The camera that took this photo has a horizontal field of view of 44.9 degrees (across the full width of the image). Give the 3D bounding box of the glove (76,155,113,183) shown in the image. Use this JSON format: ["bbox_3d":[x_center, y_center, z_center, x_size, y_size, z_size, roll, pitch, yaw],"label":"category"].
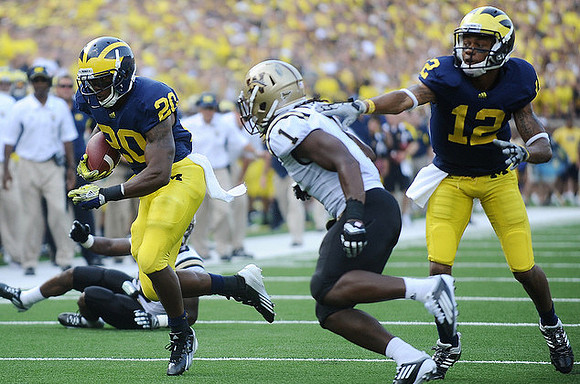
[{"bbox_3d":[-1.719,-0.196,6.198,0.225,0.127,0.284,40,11,5],"label":"glove"}]

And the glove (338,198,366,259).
[{"bbox_3d":[0.455,0.265,5.221,0.174,0.425,0.125,0,-1,0],"label":"glove"}]

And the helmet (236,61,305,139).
[{"bbox_3d":[-0.090,-0.765,5.772,0.609,0.581,0.501,-2,6,12],"label":"helmet"}]

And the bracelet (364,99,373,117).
[{"bbox_3d":[0.631,-0.675,5.691,0.083,0.110,0.085,-8,23,6],"label":"bracelet"}]

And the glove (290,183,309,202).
[{"bbox_3d":[0.064,-0.005,5.731,0.158,0.112,0.067,31,46,19],"label":"glove"}]

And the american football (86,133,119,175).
[{"bbox_3d":[-1.672,-0.316,6.241,0.228,0.352,0.245,21,-34,-23],"label":"american football"}]

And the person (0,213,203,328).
[{"bbox_3d":[-1.850,0.815,7.068,1.842,1.068,1.012,4,-9,-9],"label":"person"}]

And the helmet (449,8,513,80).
[{"bbox_3d":[1.592,-1.235,6.037,0.471,0.568,0.601,-1,1,39],"label":"helmet"}]

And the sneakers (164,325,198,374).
[{"bbox_3d":[-0.923,1.302,5.863,0.255,0.360,0.242,0,-1,-20],"label":"sneakers"}]

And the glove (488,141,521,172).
[{"bbox_3d":[1.770,-0.297,5.696,0.244,0.231,0.395,-1,-1,24],"label":"glove"}]

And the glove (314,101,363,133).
[{"bbox_3d":[0.389,-0.607,5.617,0.334,0.216,0.122,-9,-33,-14],"label":"glove"}]

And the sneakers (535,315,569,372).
[{"bbox_3d":[2.255,1.313,6.015,0.171,0.501,0.216,-21,-29,14],"label":"sneakers"}]

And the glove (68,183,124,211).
[{"bbox_3d":[-1.604,0.019,5.861,0.594,0.218,0.178,-7,6,4],"label":"glove"}]
